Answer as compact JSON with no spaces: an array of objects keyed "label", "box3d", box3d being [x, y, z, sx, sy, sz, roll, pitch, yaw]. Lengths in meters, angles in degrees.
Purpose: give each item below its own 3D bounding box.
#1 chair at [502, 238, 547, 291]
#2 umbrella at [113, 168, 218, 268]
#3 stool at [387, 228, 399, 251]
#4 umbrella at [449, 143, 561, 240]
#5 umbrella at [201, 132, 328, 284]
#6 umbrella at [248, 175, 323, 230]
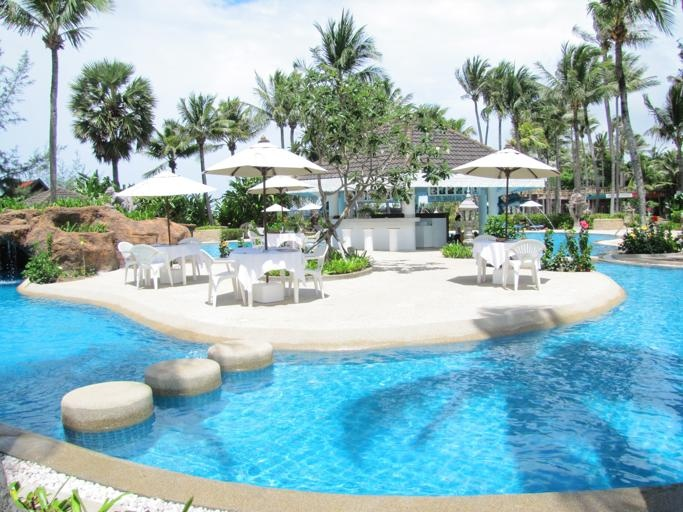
[{"label":"chair","box3d":[4.437,0.056,12.436,0.910,1.134,0.883,-10,18,-10]},{"label":"umbrella","box3d":[-4.383,-1.385,13.303,1.708,1.719,1.794,-4,-4,13]},{"label":"stool","box3d":[2.271,-0.798,22.512,0.465,0.919,0.520,-1,11,3]},{"label":"umbrella","box3d":[4.405,-1.654,13.930,2.605,2.509,2.780,4,2,17]},{"label":"umbrella","box3d":[-1.746,-1.385,11.574,2.599,2.016,2.434,4,11,19]},{"label":"umbrella","box3d":[-2.005,-2.194,19.518,2.288,0.938,2.313,-8,7,-39]}]
